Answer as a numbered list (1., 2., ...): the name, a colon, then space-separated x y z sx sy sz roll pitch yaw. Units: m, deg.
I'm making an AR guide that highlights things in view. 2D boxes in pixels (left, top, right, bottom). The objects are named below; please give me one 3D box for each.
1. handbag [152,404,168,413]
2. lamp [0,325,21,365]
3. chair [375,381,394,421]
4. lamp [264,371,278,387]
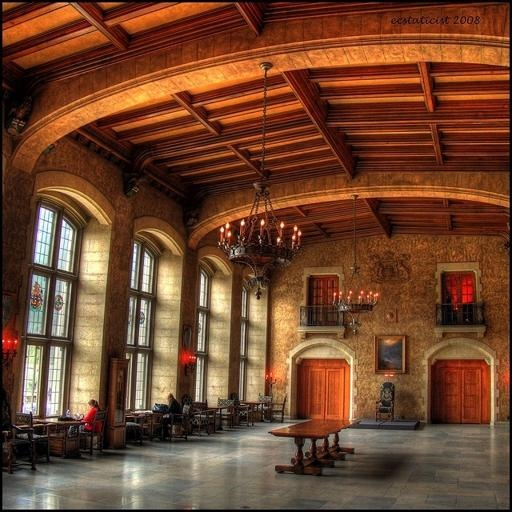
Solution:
1. handbag: -2.352 3.727 12.258 0.224 0.161 0.212 0 -3 16
2. lamp: -3.826 1.406 7.832 0.196 0.589 0.346 4 -16 -14
3. chair: 4.576 5.196 17.977 0.709 1.312 0.929 -5 -17 19
4. lamp: 0.561 4.822 19.784 0.530 0.581 0.519 4 -16 -14
